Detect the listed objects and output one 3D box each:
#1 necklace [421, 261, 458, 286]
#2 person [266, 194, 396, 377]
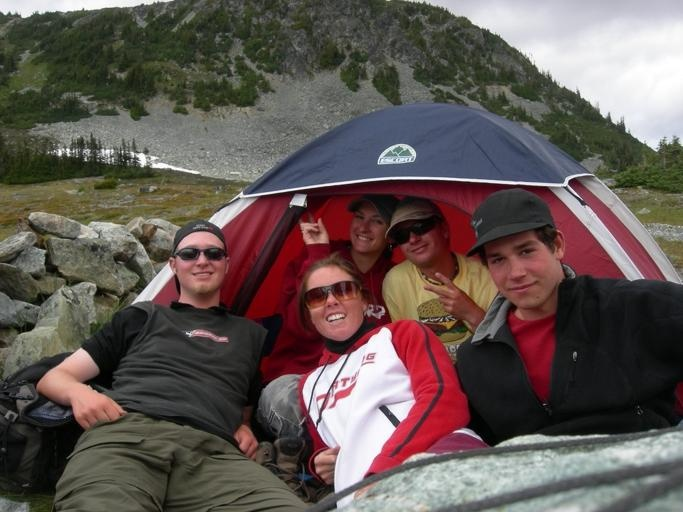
[{"bbox_3d":[0.893,0.178,5.454,0.207,0.073,0.270,2,28,4],"label":"necklace"},{"bbox_3d":[-0.101,0.287,5.451,1.428,1.765,1.174,-2,-26,6],"label":"person"}]
